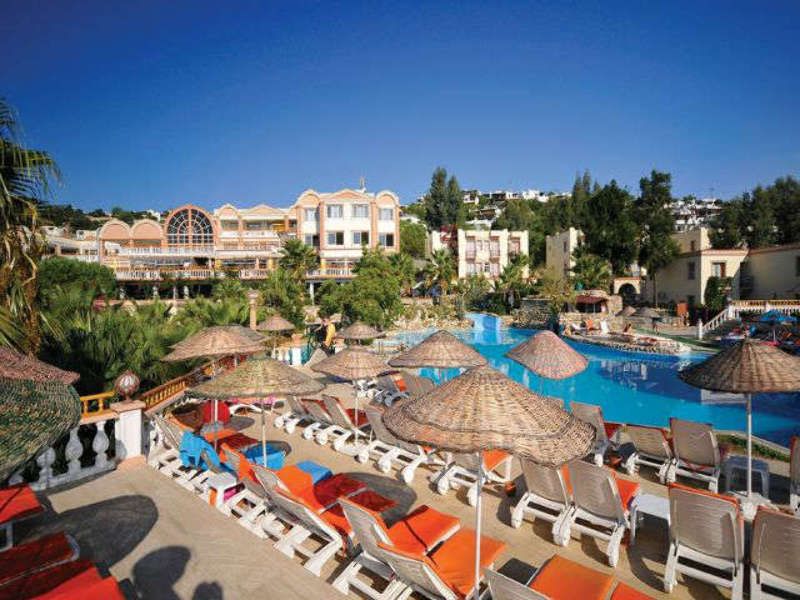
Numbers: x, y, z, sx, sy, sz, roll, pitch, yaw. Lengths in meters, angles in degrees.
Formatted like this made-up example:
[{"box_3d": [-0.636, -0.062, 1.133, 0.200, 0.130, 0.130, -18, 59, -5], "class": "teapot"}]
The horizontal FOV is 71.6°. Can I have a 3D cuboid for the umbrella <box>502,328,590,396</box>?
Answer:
[{"box_3d": [3.447, 1.637, 13.124, 1.413, 1.295, 1.471, 1, 19, -11], "class": "umbrella"}]

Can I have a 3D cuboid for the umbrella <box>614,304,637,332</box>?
[{"box_3d": [14.498, 1.202, 35.729, 1.508, 1.676, 1.533, -2, 3, 4], "class": "umbrella"}]

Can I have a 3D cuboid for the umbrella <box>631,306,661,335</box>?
[{"box_3d": [15.533, 1.371, 35.118, 1.382, 1.229, 1.321, -5, 8, -28], "class": "umbrella"}]

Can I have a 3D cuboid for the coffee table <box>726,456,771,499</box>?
[{"box_3d": [6.638, 3.332, 10.626, 0.737, 0.600, 0.765, -7, -13, 34], "class": "coffee table"}]

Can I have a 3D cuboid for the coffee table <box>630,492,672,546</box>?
[{"box_3d": [4.290, 3.822, 9.678, 0.762, 0.778, 0.779, -3, -5, 37], "class": "coffee table"}]

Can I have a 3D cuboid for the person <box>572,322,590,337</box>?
[{"box_3d": [11.577, 1.913, 35.674, 0.901, 0.610, 0.629, -4, 4, 9], "class": "person"}]

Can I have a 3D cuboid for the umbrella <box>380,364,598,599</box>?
[{"box_3d": [1.591, 2.479, 9.034, 3.039, 3.748, 3.094, 4, 12, 15], "class": "umbrella"}]

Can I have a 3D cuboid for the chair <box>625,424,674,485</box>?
[{"box_3d": [5.142, 3.029, 11.431, 0.632, 0.914, 1.262, 0, 3, 31], "class": "chair"}]

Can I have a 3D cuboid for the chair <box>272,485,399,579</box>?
[{"box_3d": [-1.257, 3.725, 9.340, 0.901, 0.890, 1.447, 6, 9, 36], "class": "chair"}]
